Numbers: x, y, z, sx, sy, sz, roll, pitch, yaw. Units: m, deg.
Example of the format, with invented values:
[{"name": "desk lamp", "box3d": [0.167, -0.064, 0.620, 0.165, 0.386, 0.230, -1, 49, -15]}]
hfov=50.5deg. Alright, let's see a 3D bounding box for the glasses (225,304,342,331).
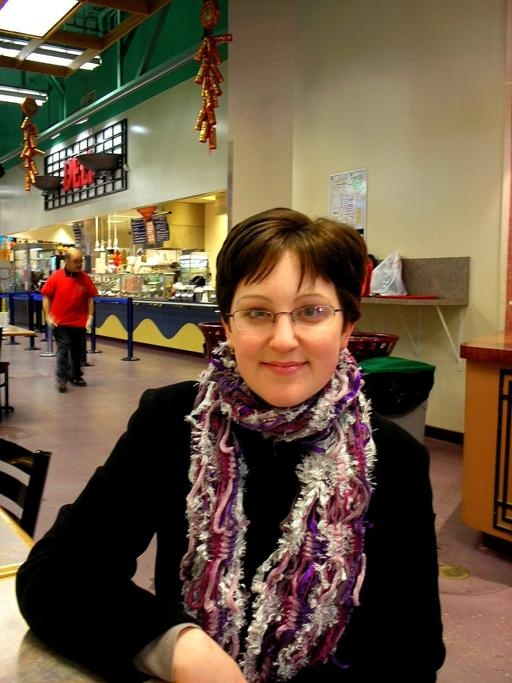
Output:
[{"name": "glasses", "box3d": [0.040, -0.031, 0.697, 0.134, 0.032, 0.038, 1, 5, 0]}]
